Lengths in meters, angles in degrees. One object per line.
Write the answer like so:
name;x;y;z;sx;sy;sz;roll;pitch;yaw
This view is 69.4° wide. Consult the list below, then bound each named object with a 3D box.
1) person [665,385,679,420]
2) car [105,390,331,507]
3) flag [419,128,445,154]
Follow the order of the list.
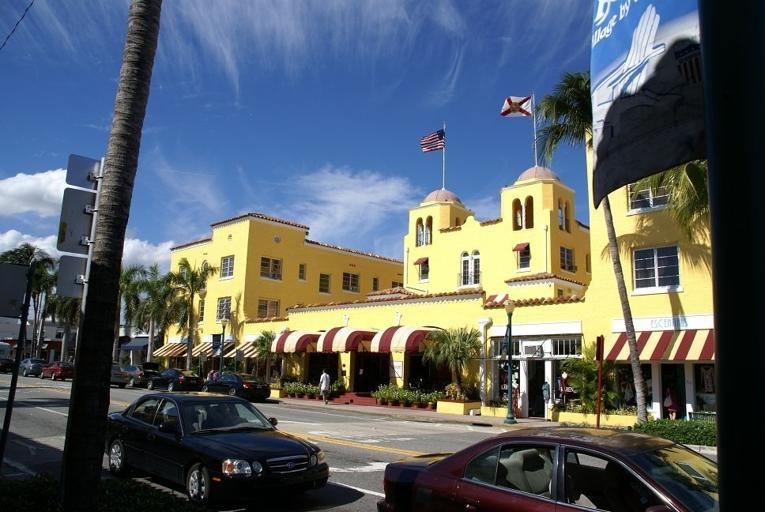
person;11.178;5.674;21.423;0.429;1.081;0.649;-1;-13;7
car;-3.076;3.396;10.094;4.193;1.729;1.657;-9;-16;36
flag;3.896;-8.487;41.715;1.498;2.257;2.379;1;-13;-1
